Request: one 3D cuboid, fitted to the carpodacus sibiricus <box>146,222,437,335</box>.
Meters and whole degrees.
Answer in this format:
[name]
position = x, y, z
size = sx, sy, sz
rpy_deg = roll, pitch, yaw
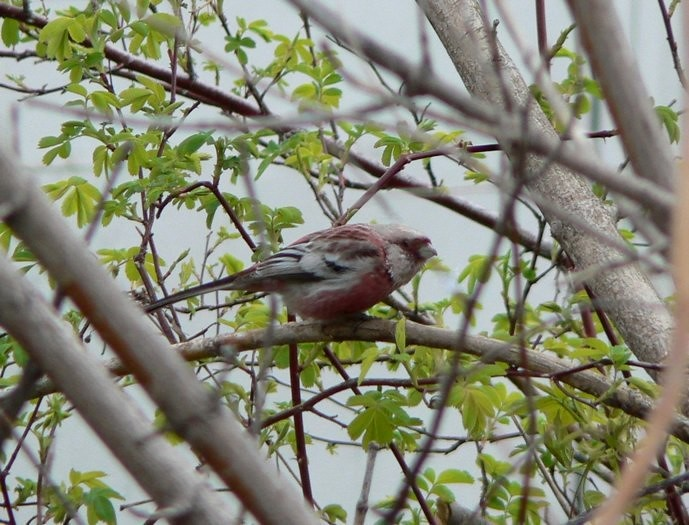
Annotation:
[carpodacus sibiricus]
position = -0.236, 0.059, 3.911
size = 1.212, 0.370, 0.476
rpy_deg = 1, -87, -7
